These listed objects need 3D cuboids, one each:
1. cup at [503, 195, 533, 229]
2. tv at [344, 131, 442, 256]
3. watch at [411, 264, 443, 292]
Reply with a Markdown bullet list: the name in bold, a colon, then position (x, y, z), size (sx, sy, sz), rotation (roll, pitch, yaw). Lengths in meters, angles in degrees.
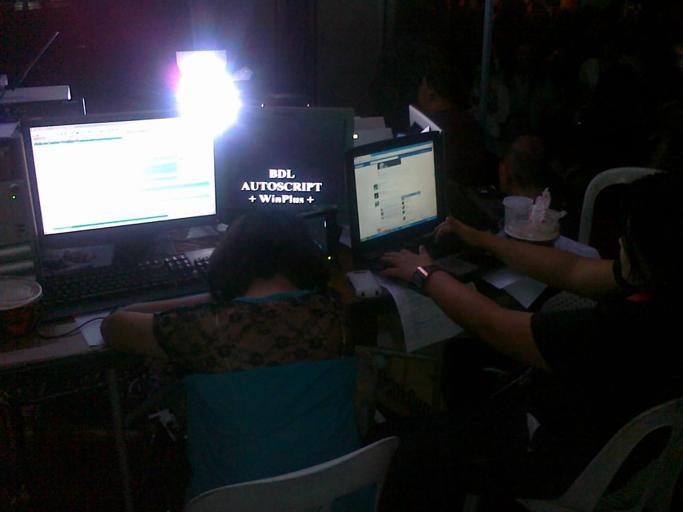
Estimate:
- **cup**: position (0.771, -0.195, 2.545), size (0.135, 0.146, 0.137), rotation (0, 2, 0)
- **tv**: position (0.217, -0.257, 2.455), size (0.441, 0.398, 0.335), rotation (-13, -4, -30)
- **watch**: position (0.297, 0.074, 2.115), size (0.103, 0.098, 0.086), rotation (-8, 45, -23)
